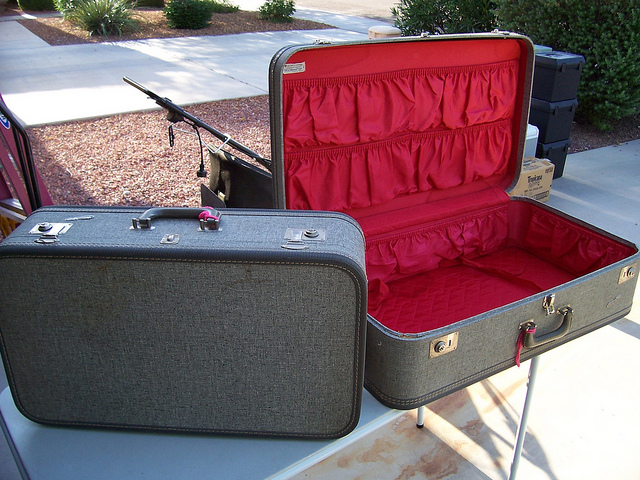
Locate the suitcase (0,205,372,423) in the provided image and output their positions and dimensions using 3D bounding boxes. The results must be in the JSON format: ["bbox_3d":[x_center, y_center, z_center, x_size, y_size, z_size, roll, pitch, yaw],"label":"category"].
[{"bbox_3d":[-0.412,0.230,1.788,0.672,0.458,0.208,1,23,-2],"label":"suitcase"}]
